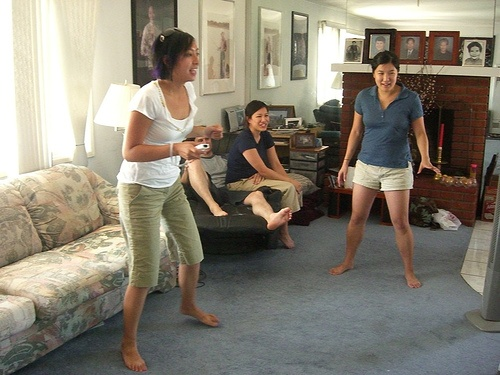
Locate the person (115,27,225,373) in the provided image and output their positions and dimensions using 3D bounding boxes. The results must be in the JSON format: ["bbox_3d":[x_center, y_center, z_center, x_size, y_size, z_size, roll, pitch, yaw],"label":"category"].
[{"bbox_3d":[-0.432,0.084,1.890,0.541,1.738,0.556,1,16,0],"label":"person"}]

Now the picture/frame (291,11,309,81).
[{"bbox_3d":[0.718,-2.077,5.225,0.261,0.962,0.331,2,16,4],"label":"picture/frame"}]

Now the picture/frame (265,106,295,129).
[{"bbox_3d":[0.461,-1.022,5.320,0.198,0.392,0.509,-19,23,-34],"label":"picture/frame"}]

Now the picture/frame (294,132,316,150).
[{"bbox_3d":[0.740,-0.618,4.753,0.307,0.193,0.095,1,5,13],"label":"picture/frame"}]

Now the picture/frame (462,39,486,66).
[{"bbox_3d":[2.578,-1.546,4.091,0.248,0.307,0.123,7,17,21],"label":"picture/frame"}]

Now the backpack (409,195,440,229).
[{"bbox_3d":[1.974,0.288,4.087,0.346,0.319,0.137,-3,-7,22],"label":"backpack"}]

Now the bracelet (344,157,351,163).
[{"bbox_3d":[0.821,-0.230,2.989,0.059,0.033,0.050,-2,11,-5],"label":"bracelet"}]

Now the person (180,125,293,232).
[{"bbox_3d":[-0.161,-0.095,3.317,0.735,0.605,1.349,-14,28,-38],"label":"person"}]

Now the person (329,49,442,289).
[{"bbox_3d":[1.091,-0.152,2.872,0.724,1.797,0.578,5,17,13],"label":"person"}]

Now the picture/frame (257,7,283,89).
[{"bbox_3d":[0.299,-2.110,5.425,0.452,1.189,0.241,6,17,19],"label":"picture/frame"}]
